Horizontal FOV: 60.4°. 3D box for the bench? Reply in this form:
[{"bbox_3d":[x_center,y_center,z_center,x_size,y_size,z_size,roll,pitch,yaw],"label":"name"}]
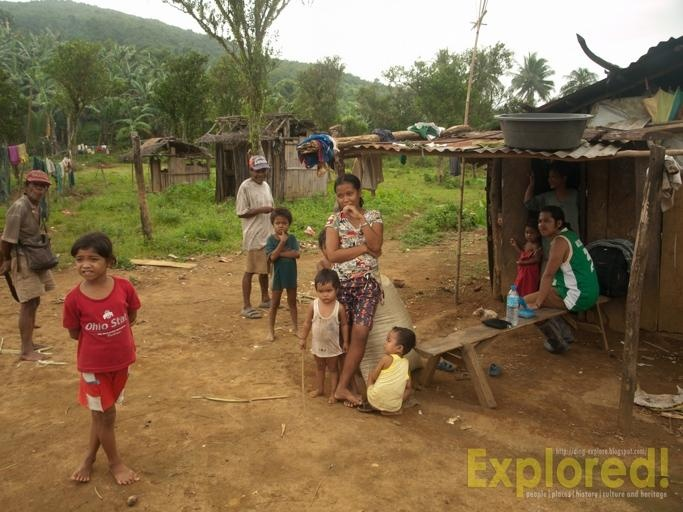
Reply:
[{"bbox_3d":[2.184,0.961,7.325,3.502,0.830,1.302,-9,17,-36],"label":"bench"}]

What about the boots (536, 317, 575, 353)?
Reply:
[{"bbox_3d":[2.725,1.006,7.523,0.277,0.479,0.318,-33,9,-1],"label":"boots"}]

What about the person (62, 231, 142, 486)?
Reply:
[{"bbox_3d":[-1.981,0.828,4.878,0.610,2.015,0.662,-3,15,-17],"label":"person"}]

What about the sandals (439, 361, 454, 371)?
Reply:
[{"bbox_3d":[1.270,1.348,7.230,0.106,0.073,0.178,-4,5,-29],"label":"sandals"}]

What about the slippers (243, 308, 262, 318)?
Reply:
[{"bbox_3d":[-1.329,0.829,8.665,0.239,0.094,0.144,-2,6,37],"label":"slippers"}]

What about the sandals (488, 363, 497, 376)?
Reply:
[{"bbox_3d":[1.823,1.360,7.108,0.108,0.048,0.106,-18,28,-5],"label":"sandals"}]

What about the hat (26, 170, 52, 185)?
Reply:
[{"bbox_3d":[-3.488,-0.904,6.757,0.296,0.133,0.221,5,1,-20],"label":"hat"}]

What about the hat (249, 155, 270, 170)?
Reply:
[{"bbox_3d":[-1.194,-1.312,8.451,0.339,0.258,0.441,-3,6,-23],"label":"hat"}]
